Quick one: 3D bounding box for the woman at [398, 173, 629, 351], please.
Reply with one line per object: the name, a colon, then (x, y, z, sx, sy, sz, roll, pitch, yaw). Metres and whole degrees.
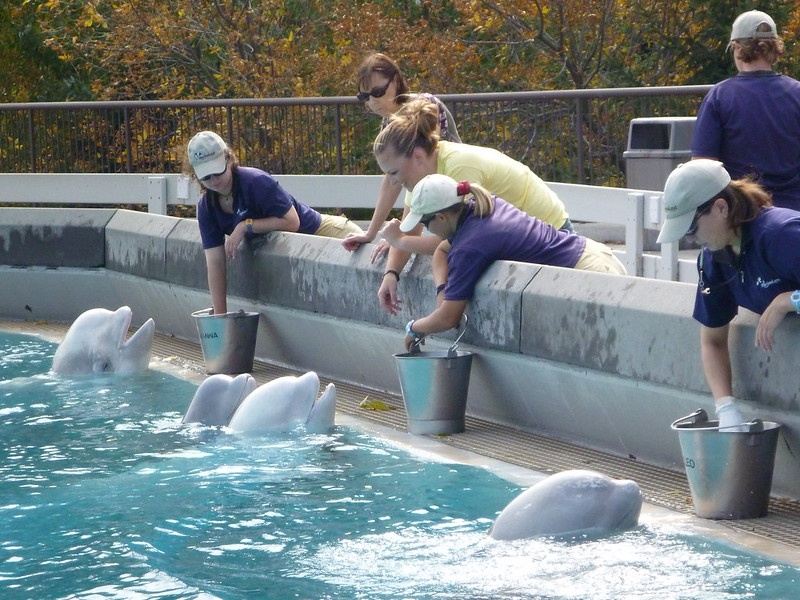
woman: (0.684, -0.229, 6.931, 1.378, 1.293, 0.560, -8, 25, -10)

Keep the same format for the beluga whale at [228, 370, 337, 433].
beluga whale: (-0.716, 0.646, 7.034, 0.322, 0.447, 1.057, 3, -3, -40)

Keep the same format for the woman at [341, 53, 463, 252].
woman: (0.033, -0.994, 7.696, 0.821, 1.348, 0.486, -1, -10, -6)

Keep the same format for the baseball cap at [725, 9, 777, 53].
baseball cap: (2.060, -1.603, 6.592, 0.260, 0.185, 0.252, 2, 13, 16)

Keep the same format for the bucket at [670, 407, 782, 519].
bucket: (1.570, 0.760, 5.503, 0.465, 0.463, 0.482, -2, 3, 0)

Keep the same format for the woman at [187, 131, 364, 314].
woman: (-0.852, -0.578, 8.970, 0.738, 1.490, 2.030, 1, 7, 42)

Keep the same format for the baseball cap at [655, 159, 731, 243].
baseball cap: (1.388, -0.466, 5.343, 0.330, 0.395, 0.237, -3, 12, -7)

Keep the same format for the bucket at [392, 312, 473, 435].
bucket: (0.219, 0.388, 6.871, 0.493, 0.794, 0.456, -1, 5, 0)

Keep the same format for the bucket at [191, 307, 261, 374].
bucket: (-1.266, 0.323, 8.310, 0.452, 0.464, 0.434, -1, -4, 0)

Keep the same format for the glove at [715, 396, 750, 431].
glove: (1.591, 0.544, 5.440, 0.100, 0.167, 0.065, -8, -28, -2)

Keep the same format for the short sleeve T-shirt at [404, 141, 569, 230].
short sleeve T-shirt: (0.614, -0.758, 6.962, 0.726, 0.642, 0.574, 0, 3, -5)

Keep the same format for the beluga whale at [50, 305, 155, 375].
beluga whale: (-2.190, 0.267, 8.420, 0.660, 0.387, 0.423, -2, 8, -33)

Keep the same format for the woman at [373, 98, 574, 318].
woman: (0.415, -0.513, 7.275, 1.448, 1.794, 0.566, -6, 29, -4)

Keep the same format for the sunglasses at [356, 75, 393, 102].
sunglasses: (-0.139, -1.442, 7.629, 0.146, 0.048, 0.154, -10, 22, 47)

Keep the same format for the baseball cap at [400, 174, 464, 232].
baseball cap: (0.177, -0.563, 6.541, 0.330, 0.204, 0.240, -31, 18, 13)
